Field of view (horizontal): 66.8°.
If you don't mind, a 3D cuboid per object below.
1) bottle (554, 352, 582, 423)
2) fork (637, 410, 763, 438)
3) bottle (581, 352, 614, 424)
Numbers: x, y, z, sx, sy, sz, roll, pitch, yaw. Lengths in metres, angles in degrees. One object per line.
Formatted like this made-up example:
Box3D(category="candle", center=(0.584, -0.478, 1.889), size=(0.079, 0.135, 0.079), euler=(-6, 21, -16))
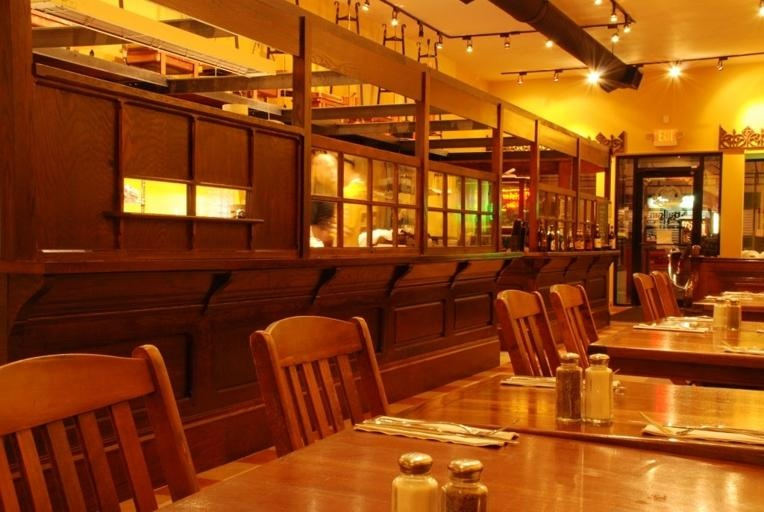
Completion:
Box3D(category="bottle", center=(0.598, 0.418, 1.841), size=(0.083, 0.201, 0.151), euler=(1, 3, 35))
Box3D(category="fork", center=(0.933, 0.507, 1.698), size=(0.325, 0.057, 0.097), euler=(-1, -3, 2))
Box3D(category="bottle", center=(0.681, 0.420, 1.828), size=(0.086, 0.202, 0.114), euler=(0, 2, 21))
